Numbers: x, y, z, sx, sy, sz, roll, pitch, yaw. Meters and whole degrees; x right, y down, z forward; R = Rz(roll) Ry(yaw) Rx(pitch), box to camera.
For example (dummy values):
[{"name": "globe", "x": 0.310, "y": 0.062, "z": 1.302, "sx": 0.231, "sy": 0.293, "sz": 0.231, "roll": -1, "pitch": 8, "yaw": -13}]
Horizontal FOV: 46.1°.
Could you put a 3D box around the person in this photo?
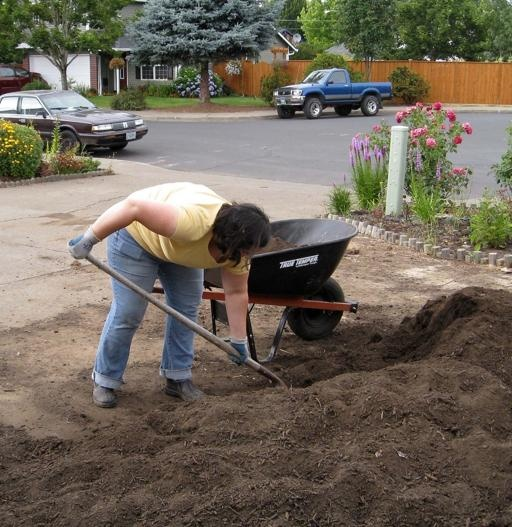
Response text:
[{"name": "person", "x": -0.450, "y": 0.201, "z": 3.340, "sx": 0.978, "sy": 1.295, "sz": 1.002, "roll": 0, "pitch": 8, "yaw": -3}]

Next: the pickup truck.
[{"name": "pickup truck", "x": 3.035, "y": -6.717, "z": 23.903, "sx": 4.504, "sy": 1.936, "sz": 1.364, "roll": -1, "pitch": 9, "yaw": -13}]
